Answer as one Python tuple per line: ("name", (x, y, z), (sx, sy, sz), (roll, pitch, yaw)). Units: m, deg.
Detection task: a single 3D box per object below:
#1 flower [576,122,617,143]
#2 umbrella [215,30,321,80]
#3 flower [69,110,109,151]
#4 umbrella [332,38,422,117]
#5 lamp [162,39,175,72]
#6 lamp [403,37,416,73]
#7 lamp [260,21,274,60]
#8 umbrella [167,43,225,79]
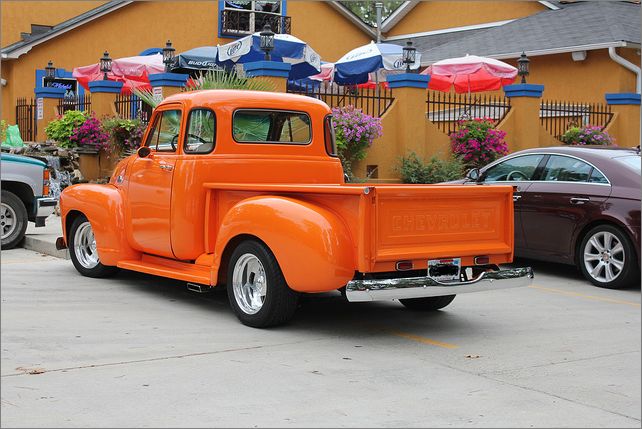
("flower", (9.207, -2.788, 18.537), (0.967, 0.480, 0.904), (3, 9, -12))
("umbrella", (-1.810, -4.822, 16.493), (2.619, 0.768, 2.638), (1, 1, 33))
("flower", (-7.289, -2.643, 17.564), (1.111, 0.824, 1.149), (-12, 0, 40))
("umbrella", (1.789, -4.514, 18.286), (2.498, 1.331, 2.368), (-11, 8, -40))
("lamp", (-4.673, -4.853, 16.859), (0.297, 0.890, 0.756), (0, 6, -19))
("lamp", (2.645, -4.686, 16.357), (0.360, 1.013, 1.069), (3, 6, 9))
("lamp", (-1.428, -4.597, 14.568), (0.365, 1.097, 0.905), (1, 6, -6))
("umbrella", (-4.243, -5.283, 19.053), (3.076, 0.816, 2.720), (0, 5, -1))
